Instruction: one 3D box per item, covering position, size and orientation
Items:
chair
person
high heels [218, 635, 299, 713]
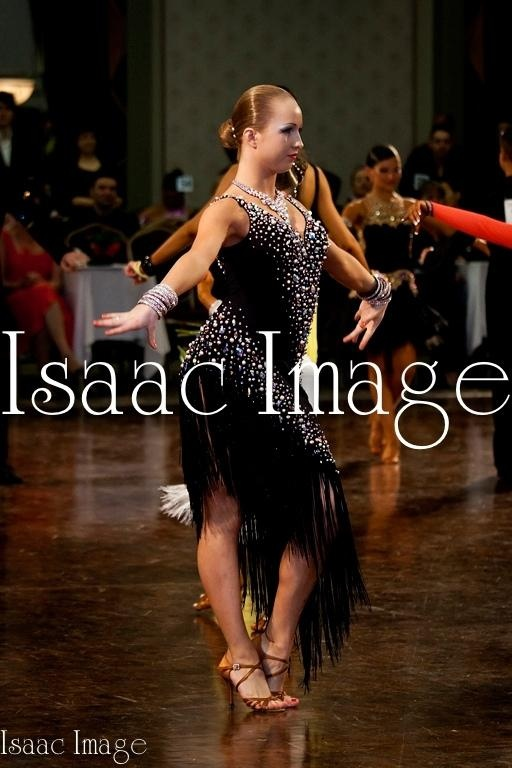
[{"bbox_3d":[-1.485,-0.837,7.802,1.656,0.788,1.335,-4,21,-6],"label":"chair"},{"bbox_3d":[-0.046,0.021,1.363,0.539,1.217,0.269,5,-6,-41],"label":"person"},{"bbox_3d":[-0.021,0.587,1.477,0.083,0.090,0.221,4,1,-32],"label":"high heels"}]
